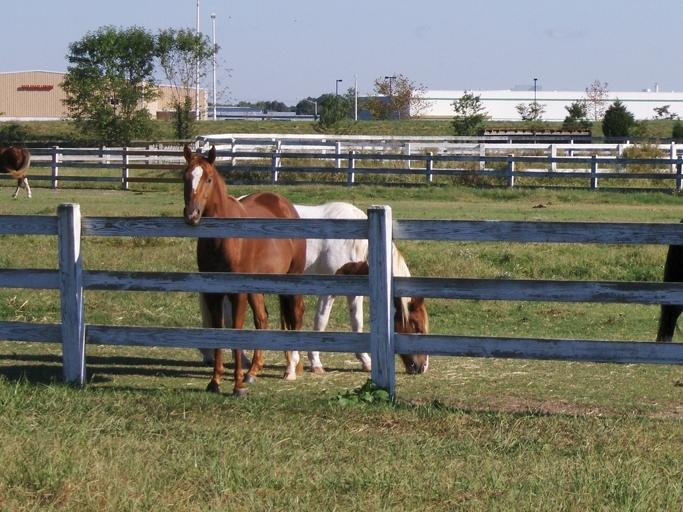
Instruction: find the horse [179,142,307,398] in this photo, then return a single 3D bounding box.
[{"bbox_3d":[-2.338,0.549,38.695,1.715,5.587,6.398,-1,-3,20],"label":"horse"}]
